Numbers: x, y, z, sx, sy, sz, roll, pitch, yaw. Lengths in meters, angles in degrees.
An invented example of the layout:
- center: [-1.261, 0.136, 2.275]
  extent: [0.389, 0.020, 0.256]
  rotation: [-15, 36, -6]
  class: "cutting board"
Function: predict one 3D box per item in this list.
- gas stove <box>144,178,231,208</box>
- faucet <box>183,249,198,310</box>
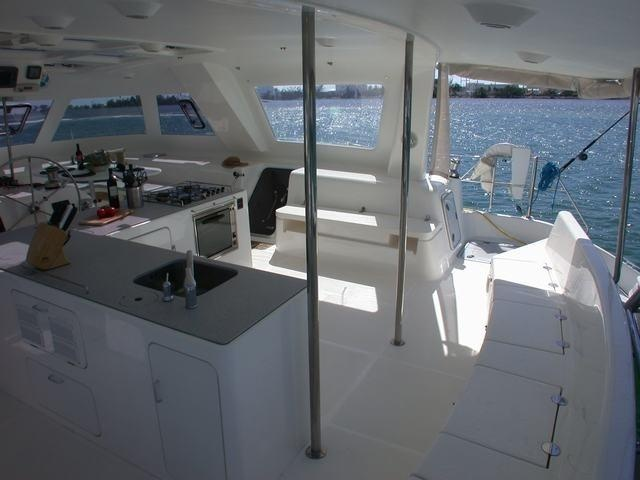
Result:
- center: [-1.270, -0.453, 3.989]
  extent: [0.658, 0.078, 0.695]
  rotation: [11, 20, 27]
  class: "gas stove"
- center: [-0.641, 0.208, 2.138]
  extent: [0.077, 0.292, 0.071]
  rotation: [-8, 23, -30]
  class: "faucet"
